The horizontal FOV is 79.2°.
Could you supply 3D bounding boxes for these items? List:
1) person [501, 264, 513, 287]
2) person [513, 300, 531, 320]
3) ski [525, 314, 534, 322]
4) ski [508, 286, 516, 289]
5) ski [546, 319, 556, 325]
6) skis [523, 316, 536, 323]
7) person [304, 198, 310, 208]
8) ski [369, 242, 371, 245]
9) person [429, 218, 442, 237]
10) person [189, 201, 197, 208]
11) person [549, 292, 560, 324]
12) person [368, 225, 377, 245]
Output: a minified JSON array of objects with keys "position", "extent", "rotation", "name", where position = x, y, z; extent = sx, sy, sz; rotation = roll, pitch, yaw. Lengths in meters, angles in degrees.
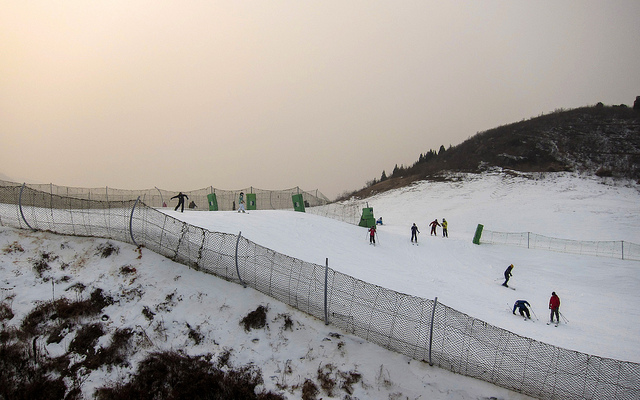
[{"position":[11.702,4.594,24.057],"extent":[0.435,1.317,1.303],"rotation":[4,4,30],"name":"person"},{"position":[10.688,5.692,20.362],"extent":[1.011,0.871,0.774],"rotation":[1,3,-25],"name":"person"},{"position":[10.981,6.111,20.104],"extent":[0.167,0.214,0.432],"rotation":[2,3,-8],"name":"ski"},{"position":[11.747,5.306,23.496],"extent":[0.351,0.039,0.172],"rotation":[3,4,17],"name":"ski"},{"position":[12.005,6.283,20.049],"extent":[0.562,0.099,0.011],"rotation":[-16,19,-19],"name":"ski"},{"position":[10.891,6.162,20.082],"extent":[0.464,0.140,0.100],"rotation":[28,18,35],"name":"skis"},{"position":[-1.366,0.291,40.249],"extent":[0.579,0.801,0.813],"rotation":[0,-2,7],"name":"person"},{"position":[3.599,3.051,27.654],"extent":[0.122,0.232,0.131],"rotation":[-2,-3,8],"name":"ski"},{"position":[10.976,2.613,36.681],"extent":[1.087,1.513,0.446],"rotation":[20,40,36],"name":"person"},{"position":[-12.463,0.419,37.784],"extent":[0.625,0.701,1.731],"rotation":[0,-3,-10],"name":"person"},{"position":[12.234,5.536,20.075],"extent":[0.403,1.589,0.526],"rotation":[5,4,41],"name":"person"},{"position":[3.829,2.580,28.173],"extent":[0.847,1.917,0.625],"rotation":[4,44,13],"name":"person"}]
